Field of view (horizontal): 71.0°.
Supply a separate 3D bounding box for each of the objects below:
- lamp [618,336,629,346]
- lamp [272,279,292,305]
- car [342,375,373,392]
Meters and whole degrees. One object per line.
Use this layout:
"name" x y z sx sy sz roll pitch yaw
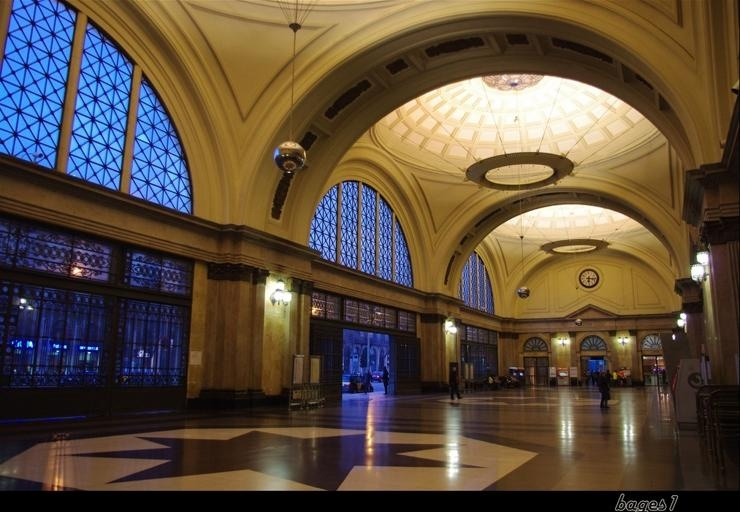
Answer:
"lamp" 19.233 6.328 39.462 0.809 0.890 0.581 -5 -16 31
"lamp" -3.038 1.211 17.616 0.534 0.953 0.699 -12 -15 27
"car" -0.587 7.163 30.106 2.023 1.073 1.326 -17 -22 35
